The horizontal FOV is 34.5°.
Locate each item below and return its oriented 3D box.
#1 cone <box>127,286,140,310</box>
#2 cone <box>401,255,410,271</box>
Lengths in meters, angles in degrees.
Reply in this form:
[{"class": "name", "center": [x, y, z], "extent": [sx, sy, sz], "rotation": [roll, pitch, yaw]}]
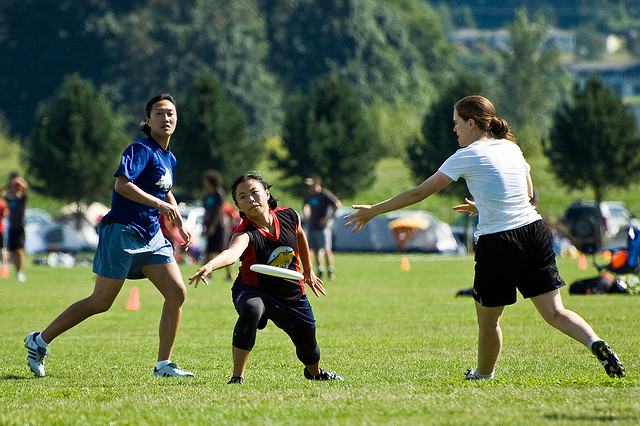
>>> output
[{"class": "cone", "center": [-3.887, 1.782, 21.410], "extent": [0.246, 0.435, 0.575], "rotation": [-1, 2, -10]}, {"class": "cone", "center": [2.618, 1.547, 30.573], "extent": [0.339, 0.371, 0.352], "rotation": [-1, -2, -4]}]
